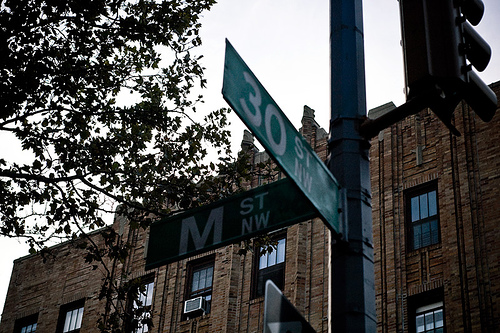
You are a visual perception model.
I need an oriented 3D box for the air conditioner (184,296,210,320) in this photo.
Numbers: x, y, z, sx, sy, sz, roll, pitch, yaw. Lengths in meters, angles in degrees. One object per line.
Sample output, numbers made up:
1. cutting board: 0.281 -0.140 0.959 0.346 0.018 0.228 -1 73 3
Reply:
1. air conditioner: -1.939 5.166 30.464 0.804 0.567 0.824 -19 -35 25
